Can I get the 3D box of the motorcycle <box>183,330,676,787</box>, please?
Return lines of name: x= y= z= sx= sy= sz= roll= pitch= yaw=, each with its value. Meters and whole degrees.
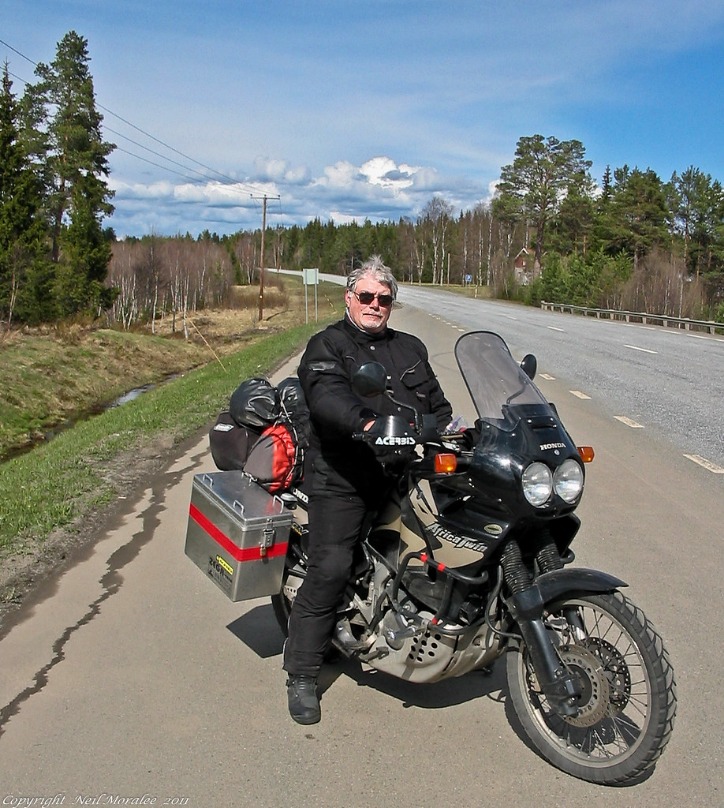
motorcycle: x=0.149 y=0.607 z=2.834 sx=2.466 sy=1.526 sz=1.135 roll=5 pitch=6 yaw=41

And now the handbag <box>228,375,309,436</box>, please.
handbag: x=-0.585 y=0.009 z=3.849 sx=0.573 sy=0.282 sz=0.440 roll=20 pitch=4 yaw=14

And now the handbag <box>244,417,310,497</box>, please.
handbag: x=-0.508 y=0.245 z=3.387 sx=0.253 sy=0.469 sz=0.324 roll=4 pitch=32 yaw=-12

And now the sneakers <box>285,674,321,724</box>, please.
sneakers: x=-0.283 y=1.409 z=2.845 sx=0.091 sy=0.108 sz=0.264 roll=0 pitch=3 yaw=-11
